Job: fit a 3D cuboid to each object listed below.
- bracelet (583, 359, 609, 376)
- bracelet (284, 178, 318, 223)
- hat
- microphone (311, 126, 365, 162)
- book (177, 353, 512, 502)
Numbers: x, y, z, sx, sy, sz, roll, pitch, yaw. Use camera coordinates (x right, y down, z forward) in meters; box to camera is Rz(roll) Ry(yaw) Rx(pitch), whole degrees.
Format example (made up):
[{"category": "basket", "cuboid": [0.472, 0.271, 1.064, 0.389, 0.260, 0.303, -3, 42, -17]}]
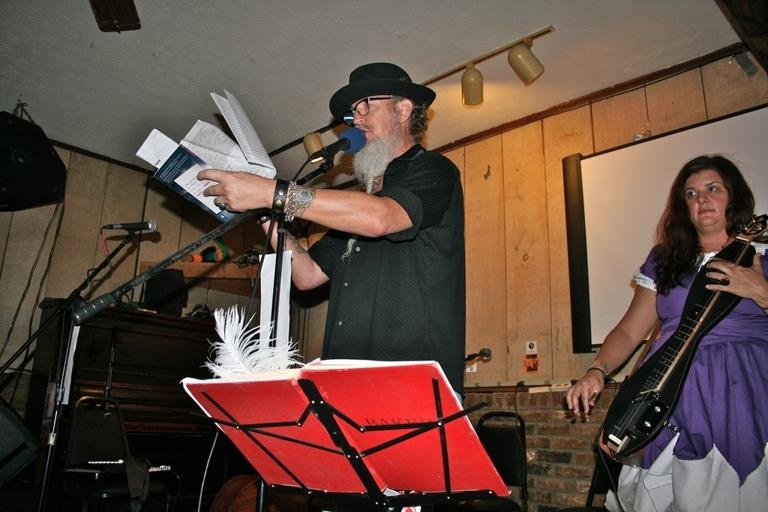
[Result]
[{"category": "bracelet", "cuboid": [1.226, 0.655, 3.228, 0.142, 0.060, 0.108, 24, 2, -42]}, {"category": "bracelet", "cuboid": [-0.379, -0.245, 2.468, 0.136, 0.164, 0.074, -4, -13, 27]}, {"category": "hat", "cuboid": [0.015, -0.902, 3.096, 0.494, 0.148, 0.403, 2, -12, -17]}, {"category": "microphone", "cuboid": [-0.208, -0.558, 2.789, 0.315, 0.119, 0.127, -26, 30, -38]}, {"category": "book", "cuboid": [-0.137, 0.661, 2.095, 1.090, 0.551, 0.488, -2, -12, 19]}]
